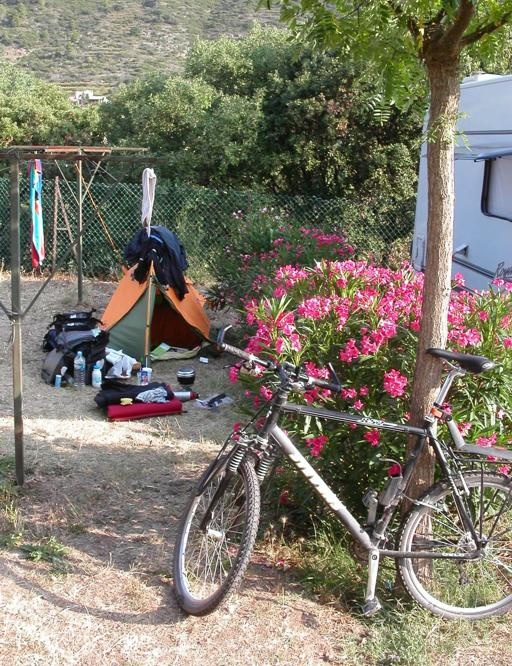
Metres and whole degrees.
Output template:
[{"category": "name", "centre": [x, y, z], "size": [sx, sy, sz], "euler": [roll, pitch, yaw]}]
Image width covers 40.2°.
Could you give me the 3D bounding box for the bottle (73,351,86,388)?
[{"category": "bottle", "centre": [-1.894, 0.383, 7.532], "size": [0.135, 0.346, 0.274], "euler": [3, 10, -13]}]

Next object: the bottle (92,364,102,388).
[{"category": "bottle", "centre": [-1.712, 0.468, 7.521], "size": [0.108, 0.217, 0.264], "euler": [2, 9, -13]}]

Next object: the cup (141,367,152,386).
[{"category": "cup", "centre": [-1.212, 0.462, 7.720], "size": [0.113, 0.182, 0.258], "euler": [3, 9, -8]}]
